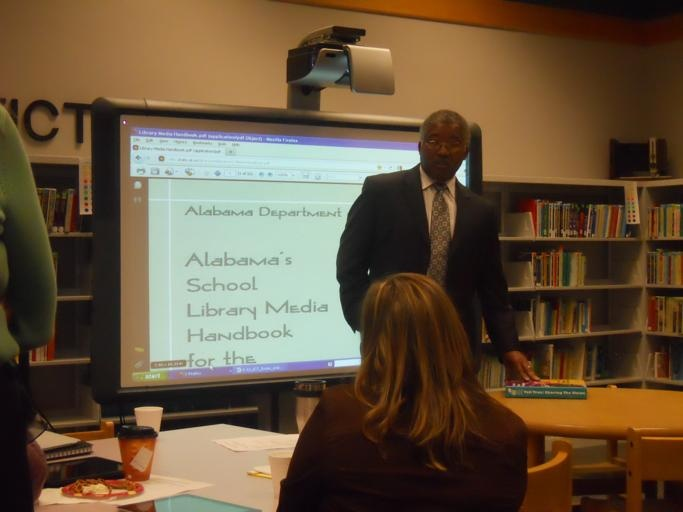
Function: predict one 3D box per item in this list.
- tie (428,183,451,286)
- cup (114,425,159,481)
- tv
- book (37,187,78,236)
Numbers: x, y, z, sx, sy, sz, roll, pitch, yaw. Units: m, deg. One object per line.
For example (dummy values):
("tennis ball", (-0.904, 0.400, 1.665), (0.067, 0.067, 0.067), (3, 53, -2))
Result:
("tie", (0.372, -0.089, 2.389), (0.084, 0.387, 0.127), (1, 1, 11))
("cup", (-0.501, 0.500, 1.607), (0.112, 0.134, 0.116), (0, -7, 0))
("tv", (-0.257, -0.013, 2.293), (1.220, 0.842, 0.120), (0, 1, -31))
("book", (-1.739, -0.280, 3.942), (0.241, 0.344, 0.335), (-6, -2, -21))
